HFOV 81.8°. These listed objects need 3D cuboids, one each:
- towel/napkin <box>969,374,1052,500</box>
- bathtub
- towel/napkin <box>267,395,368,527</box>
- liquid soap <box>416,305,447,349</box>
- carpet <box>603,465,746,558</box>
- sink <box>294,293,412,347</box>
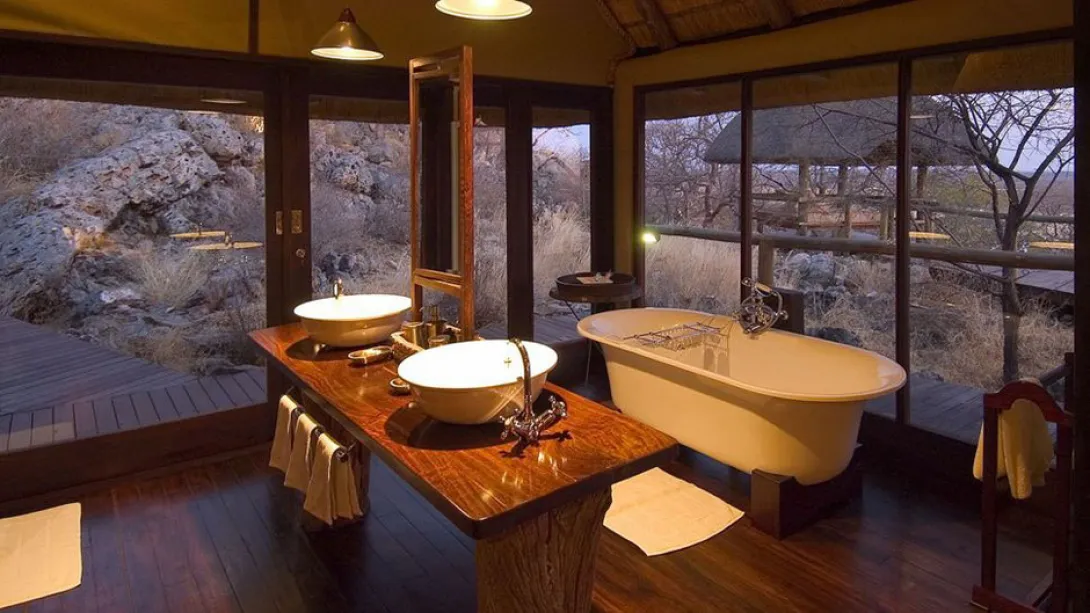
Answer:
[{"bbox_3d":[2.703,0.751,3.475,0.427,0.549,0.173,-7,17,-24],"label":"towel/napkin"},{"bbox_3d":[1.356,0.612,4.447,1.972,0.858,0.802,13,20,42],"label":"bathtub"},{"bbox_3d":[-1.273,0.878,3.581,0.322,0.479,0.860,-12,22,-35],"label":"towel/napkin"},{"bbox_3d":[-0.657,0.128,3.740,0.163,0.243,0.267,1,0,26],"label":"liquid soap"},{"bbox_3d":[0.829,1.382,4.227,0.696,0.092,0.714,-10,13,-35],"label":"carpet"},{"bbox_3d":[-1.179,0.077,3.937,0.681,0.229,0.561,-5,15,-18],"label":"sink"}]
